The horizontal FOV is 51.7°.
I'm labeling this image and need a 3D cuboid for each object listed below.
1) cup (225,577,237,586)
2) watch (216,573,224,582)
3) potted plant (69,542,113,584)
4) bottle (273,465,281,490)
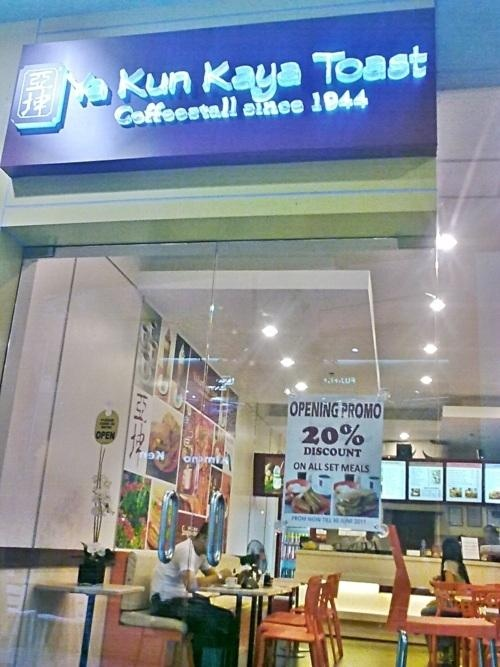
[{"bbox_3d":[-0.090,1.183,2.440,0.044,0.044,0.055,13,-20,-39],"label":"cup"},{"bbox_3d":[-0.141,1.179,2.480,0.025,0.038,0.010,-16,-13,22],"label":"watch"},{"bbox_3d":[-0.822,1.205,2.694,0.176,0.186,0.183,7,-20,-7],"label":"potted plant"},{"bbox_3d":[0.132,0.706,2.508,0.043,0.116,0.014,0,-20,7],"label":"bottle"}]
